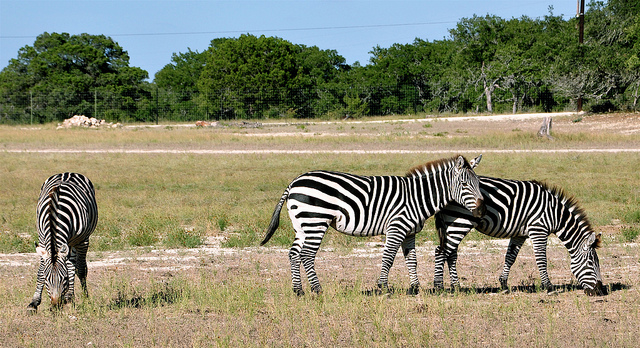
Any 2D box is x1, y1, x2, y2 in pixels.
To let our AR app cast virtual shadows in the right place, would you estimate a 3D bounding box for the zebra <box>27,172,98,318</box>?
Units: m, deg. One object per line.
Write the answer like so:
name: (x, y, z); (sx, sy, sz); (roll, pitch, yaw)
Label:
zebra: (-16.533, 4.398, 60.509); (4.276, 8.903, 4.958); (1, -2, -23)
